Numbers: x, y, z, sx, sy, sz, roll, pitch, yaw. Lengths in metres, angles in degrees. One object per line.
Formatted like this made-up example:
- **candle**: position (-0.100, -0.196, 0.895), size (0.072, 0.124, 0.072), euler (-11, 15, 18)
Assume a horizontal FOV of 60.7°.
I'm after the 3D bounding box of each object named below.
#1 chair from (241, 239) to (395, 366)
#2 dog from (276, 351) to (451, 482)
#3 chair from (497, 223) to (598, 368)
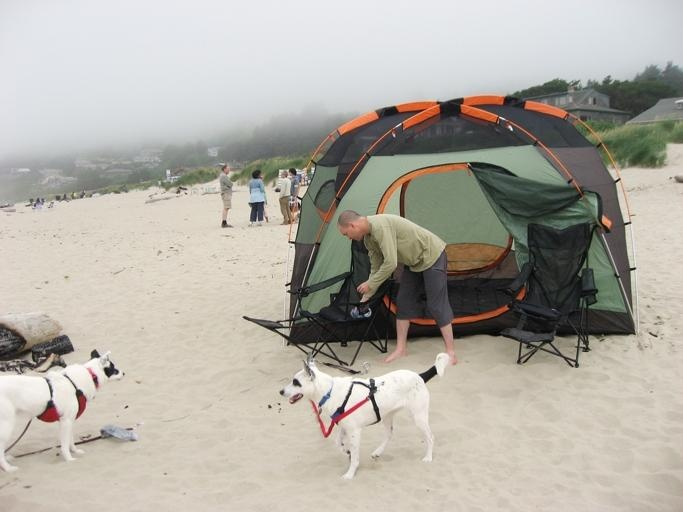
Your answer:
- **chair**: position (0.099, 0.734, 8.305), size (2.443, 1.446, 1.206), euler (-3, 8, -42)
- **dog**: position (0.290, 1.535, 5.686), size (1.758, 0.982, 0.475), euler (1, -4, -21)
- **chair**: position (2.732, 0.483, 7.526), size (1.008, 1.593, 1.402), euler (-1, 16, 22)
